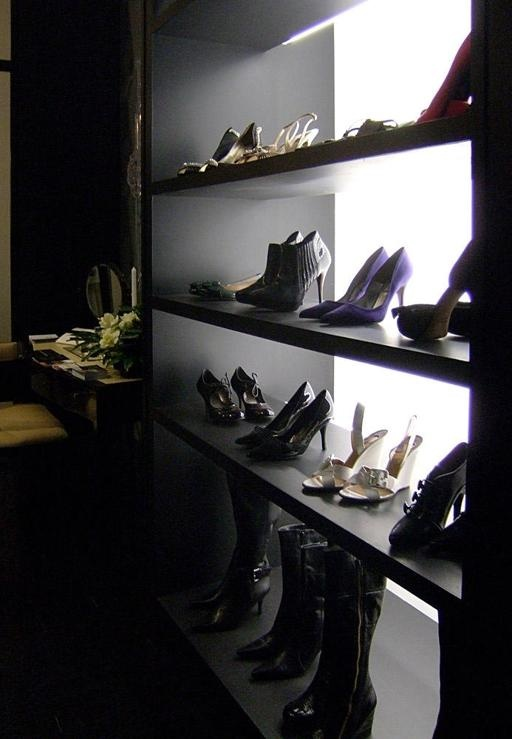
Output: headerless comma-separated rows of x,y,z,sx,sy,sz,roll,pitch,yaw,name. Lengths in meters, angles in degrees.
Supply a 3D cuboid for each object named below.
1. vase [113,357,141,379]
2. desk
-0.368,-0.002,1.593,0.048,0.066,0.089,0,5,-38,vase
-0.514,0.159,1.696,0.215,0.379,0.425,-2,11,-45,desk
